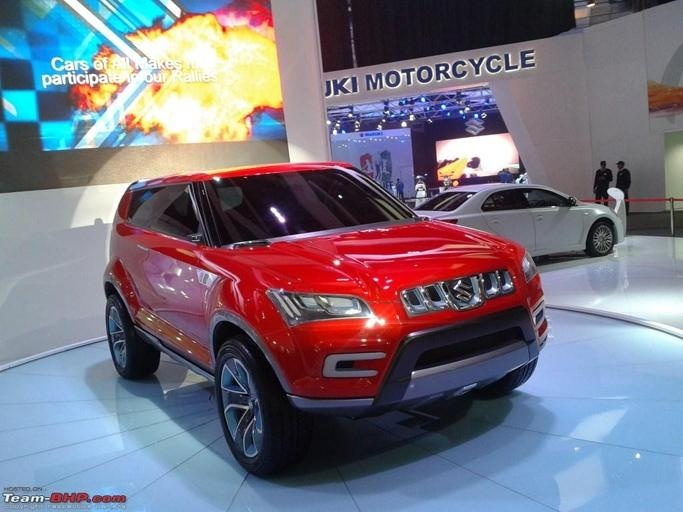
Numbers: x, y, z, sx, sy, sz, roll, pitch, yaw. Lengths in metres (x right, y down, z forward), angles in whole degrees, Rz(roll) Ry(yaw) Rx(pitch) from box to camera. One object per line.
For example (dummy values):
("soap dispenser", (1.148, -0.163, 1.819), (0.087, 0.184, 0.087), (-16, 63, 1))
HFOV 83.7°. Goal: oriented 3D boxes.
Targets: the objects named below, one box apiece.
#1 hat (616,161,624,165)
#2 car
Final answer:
("hat", (10.317, -3.590, 14.200), (0.173, 0.097, 0.256), (5, 15, 9))
("car", (3.805, -0.984, 8.369), (4.486, 1.617, 1.951), (-7, 8, -22))
